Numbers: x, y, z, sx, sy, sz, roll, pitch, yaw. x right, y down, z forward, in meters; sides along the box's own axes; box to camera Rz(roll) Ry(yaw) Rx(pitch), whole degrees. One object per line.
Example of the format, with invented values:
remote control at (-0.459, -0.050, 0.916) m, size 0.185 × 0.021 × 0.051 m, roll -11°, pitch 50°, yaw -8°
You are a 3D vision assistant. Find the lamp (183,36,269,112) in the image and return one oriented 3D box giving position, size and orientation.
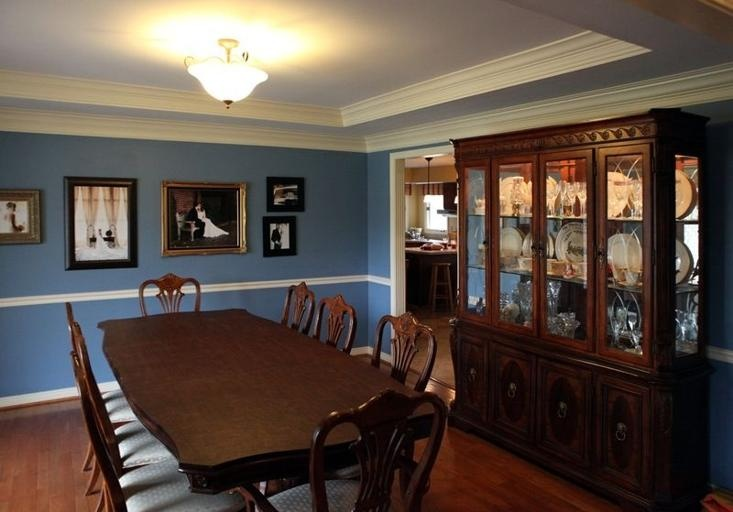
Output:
lamp at (-1.040, -1.245, 3.775) m, size 0.478 × 0.439 × 0.456 m, roll 0°, pitch 0°, yaw -35°

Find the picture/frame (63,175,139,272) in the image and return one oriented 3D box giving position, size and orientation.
picture/frame at (-2.738, -0.344, 5.279) m, size 0.918 × 1.352 × 0.100 m, roll -1°, pitch 1°, yaw -32°

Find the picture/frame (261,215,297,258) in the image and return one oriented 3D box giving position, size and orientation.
picture/frame at (-1.045, -0.240, 6.115) m, size 0.447 × 0.552 × 0.020 m, roll -4°, pitch 6°, yaw -30°

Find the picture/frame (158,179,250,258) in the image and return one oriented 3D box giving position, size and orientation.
picture/frame at (-1.833, -0.422, 5.706) m, size 0.817 × 0.778 × 0.092 m, roll -1°, pitch 3°, yaw -27°

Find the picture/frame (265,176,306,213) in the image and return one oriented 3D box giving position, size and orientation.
picture/frame at (-0.971, -0.730, 6.118) m, size 0.402 × 0.403 × 0.030 m, roll -3°, pitch 3°, yaw -28°

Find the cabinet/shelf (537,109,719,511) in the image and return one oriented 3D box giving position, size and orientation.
cabinet/shelf at (1.844, 0.343, 3.779) m, size 0.678 × 2.699 × 1.273 m, roll -8°, pitch 13°, yaw -43°
